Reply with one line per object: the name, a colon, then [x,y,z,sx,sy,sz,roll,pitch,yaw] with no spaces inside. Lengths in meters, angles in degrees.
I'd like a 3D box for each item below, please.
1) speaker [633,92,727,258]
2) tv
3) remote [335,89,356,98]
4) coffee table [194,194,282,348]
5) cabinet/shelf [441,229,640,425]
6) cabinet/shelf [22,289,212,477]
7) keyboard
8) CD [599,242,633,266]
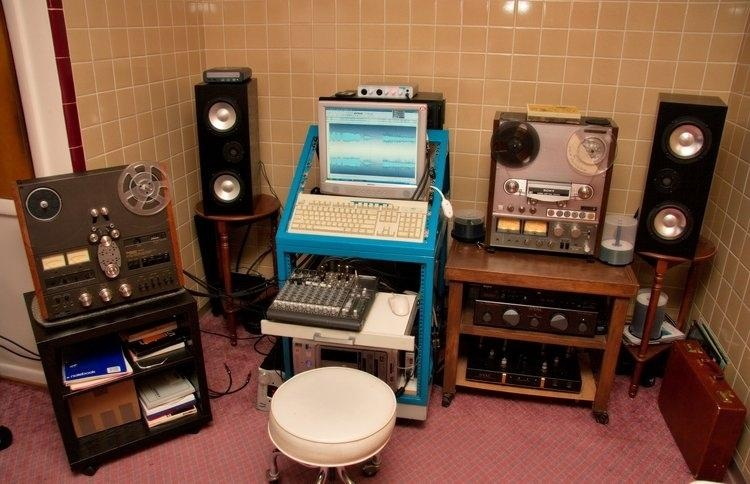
speaker: [1.804,-0.376,3.411,0.433,1.050,0.405,8,22,18]
tv: [0.081,-0.552,3.561,0.873,0.809,0.528,3,24,9]
remote: [-0.169,-0.938,3.438,0.136,0.013,0.205,7,26,12]
coffee table: [-0.954,0.148,4.081,0.505,0.895,0.534,-3,21,-10]
cabinet/shelf: [0.995,0.648,3.456,1.480,1.044,0.907,11,21,22]
cabinet/shelf: [-1.445,0.770,3.212,0.828,0.907,0.495,-13,28,-28]
keyboard: [-0.101,-0.149,3.290,0.822,0.184,0.235,6,25,9]
CD: [1.483,0.066,3.380,0.203,0.115,0.138,5,25,9]
